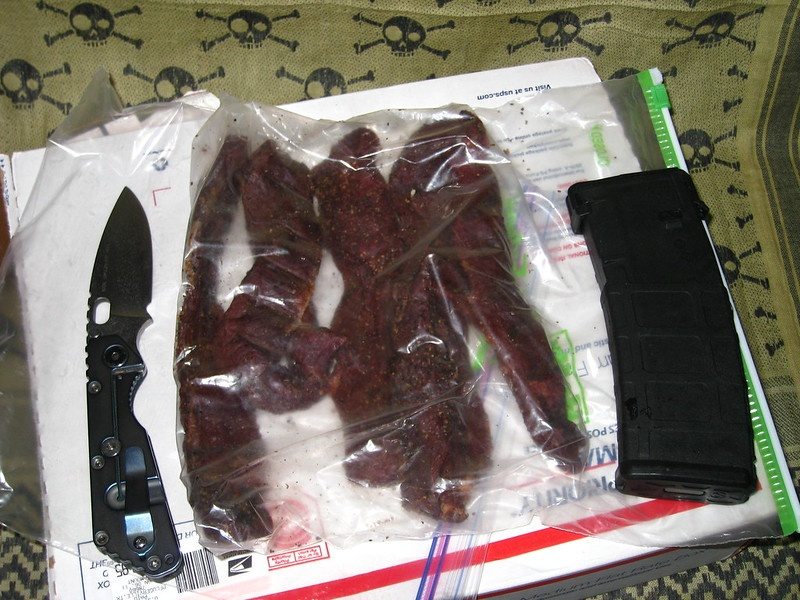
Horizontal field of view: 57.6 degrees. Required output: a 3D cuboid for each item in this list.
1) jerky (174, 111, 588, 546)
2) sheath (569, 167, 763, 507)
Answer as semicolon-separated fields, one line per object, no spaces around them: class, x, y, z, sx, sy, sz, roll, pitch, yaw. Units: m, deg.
jerky;-0.046;0.015;1.004;0.535;0.589;0.107;-9;-5;3
sheath;0.377;0.041;1.067;0.201;0.458;0.079;-6;-17;7
